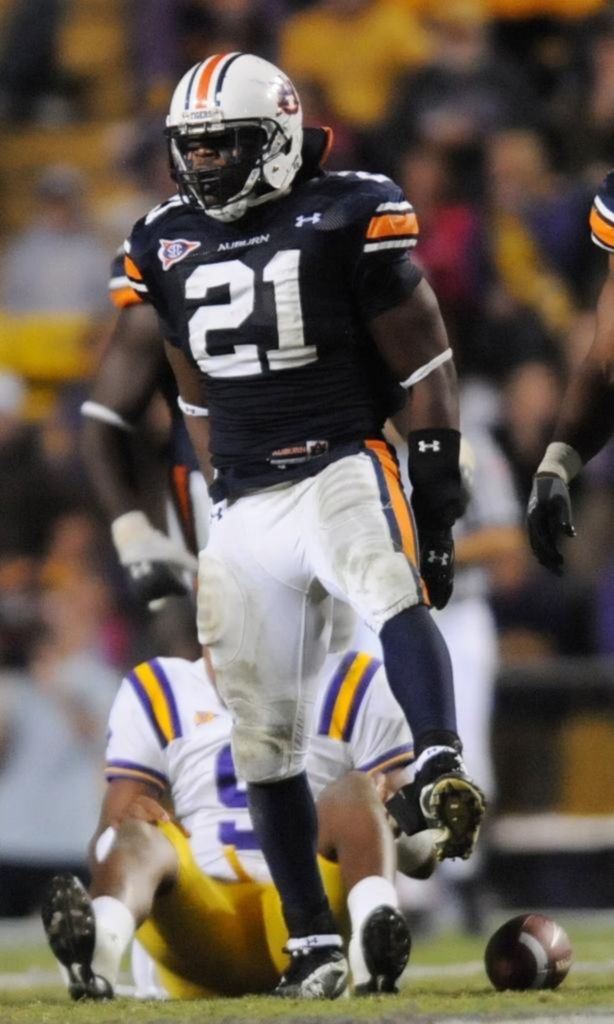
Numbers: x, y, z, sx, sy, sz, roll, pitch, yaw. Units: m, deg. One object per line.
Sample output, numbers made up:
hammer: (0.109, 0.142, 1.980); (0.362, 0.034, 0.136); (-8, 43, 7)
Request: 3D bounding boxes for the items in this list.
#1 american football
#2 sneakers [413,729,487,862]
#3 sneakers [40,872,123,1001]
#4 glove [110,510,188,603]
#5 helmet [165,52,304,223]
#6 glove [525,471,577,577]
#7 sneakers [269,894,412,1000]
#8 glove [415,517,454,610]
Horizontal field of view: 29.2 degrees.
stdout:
american football: (0.334, 0.659, 1.777); (0.105, 0.128, 0.099); (7, 84, 13)
sneakers: (0.161, 0.325, 1.396); (0.061, 0.081, 0.157); (-7, 85, -10)
sneakers: (-0.298, 0.598, 1.666); (0.074, 0.205, 0.088); (-9, 43, 1)
glove: (-0.353, 0.097, 2.715); (0.140, 0.108, 0.221); (-19, 50, -13)
helmet: (-0.104, -0.636, 2.017); (0.238, 0.274, 0.299); (-4, 17, 23)
glove: (0.465, 0.024, 2.126); (0.070, 0.100, 0.171); (22, 53, -32)
sneakers: (0.043, 0.648, 1.755); (0.140, 0.390, 0.167); (0, 69, -4)
glove: (0.201, 0.092, 1.871); (0.046, 0.083, 0.111); (4, 78, 1)
